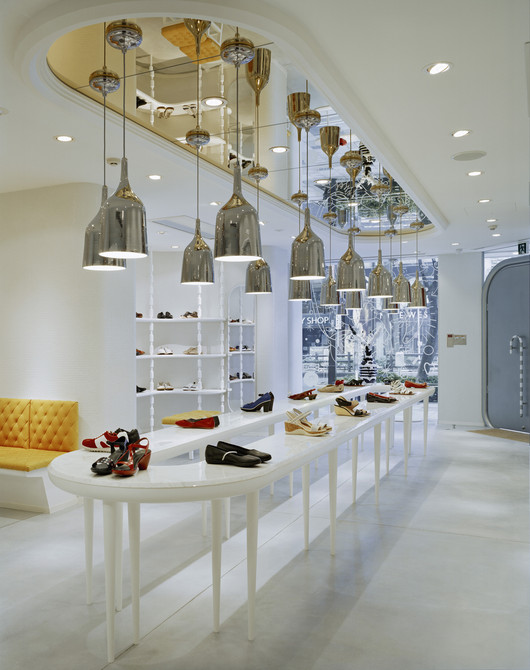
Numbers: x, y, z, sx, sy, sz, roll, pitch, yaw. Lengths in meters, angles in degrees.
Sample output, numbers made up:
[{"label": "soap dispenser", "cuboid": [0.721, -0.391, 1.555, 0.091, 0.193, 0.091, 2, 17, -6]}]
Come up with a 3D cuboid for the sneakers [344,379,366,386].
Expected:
[{"label": "sneakers", "cuboid": [1.140, 0.610, 7.570, 0.122, 0.067, 0.213, -3, -10, 20]}]

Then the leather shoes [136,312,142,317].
[{"label": "leather shoes", "cuboid": [-1.786, -0.273, 8.356, 0.083, 0.038, 0.112, -1, -3, -3]}]

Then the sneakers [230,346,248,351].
[{"label": "sneakers", "cuboid": [-0.402, 0.214, 9.029, 0.092, 0.093, 0.269, -3, -7, 29]}]

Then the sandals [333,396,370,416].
[{"label": "sandals", "cuboid": [0.650, 0.565, 4.748, 0.135, 0.137, 0.365, -2, -2, -37]}]

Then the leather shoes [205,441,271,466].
[{"label": "leather shoes", "cuboid": [-0.130, 0.563, 2.821, 0.294, 0.090, 0.287, 0, -1, -33]}]

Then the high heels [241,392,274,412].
[{"label": "high heels", "cuboid": [-0.117, 0.548, 4.814, 0.325, 0.169, 0.116, -2, -3, 34]}]

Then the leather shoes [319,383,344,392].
[{"label": "leather shoes", "cuboid": [0.763, 0.610, 6.654, 0.193, 0.059, 0.136, 0, -2, -32]}]

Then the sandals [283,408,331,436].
[{"label": "sandals", "cuboid": [0.252, 0.544, 3.710, 0.247, 0.091, 0.143, 2, 4, 25]}]

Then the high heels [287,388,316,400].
[{"label": "high heels", "cuboid": [0.380, 0.585, 5.839, 0.342, 0.121, 0.119, 1, -3, -2]}]

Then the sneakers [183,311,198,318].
[{"label": "sneakers", "cuboid": [-1.091, -0.296, 8.732, 0.090, 0.078, 0.240, 0, 0, 3]}]
